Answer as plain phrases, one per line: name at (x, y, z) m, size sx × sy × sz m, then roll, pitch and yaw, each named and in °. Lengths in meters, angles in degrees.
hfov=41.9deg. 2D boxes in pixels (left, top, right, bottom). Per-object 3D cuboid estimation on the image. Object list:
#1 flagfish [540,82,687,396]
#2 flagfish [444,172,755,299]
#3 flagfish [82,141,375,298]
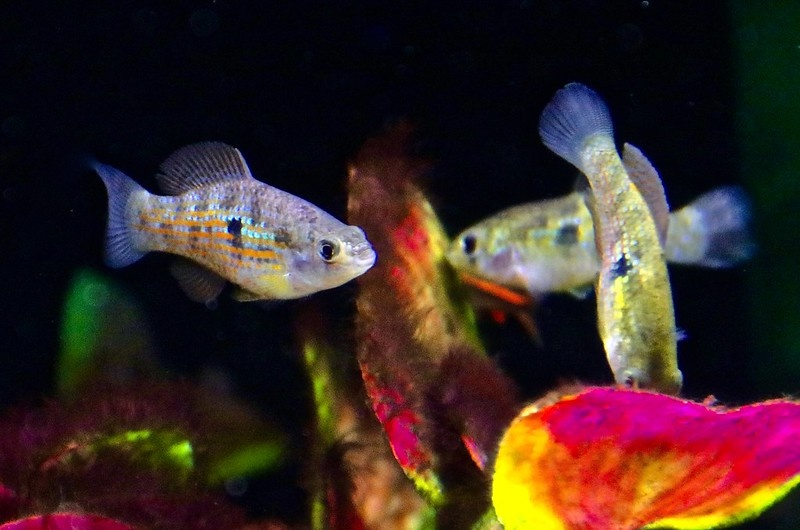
flagfish at (0.609, -0.067, 2.968) m, size 0.357 × 0.785 × 0.370 m, roll 14°, pitch 34°, yaw 41°
flagfish at (0.592, -0.046, 3.110) m, size 0.898 × 0.393 × 0.217 m, roll -6°, pitch 0°, yaw -6°
flagfish at (-0.468, -0.122, 2.936) m, size 0.832 × 0.447 × 0.102 m, roll 1°, pitch 7°, yaw 20°
